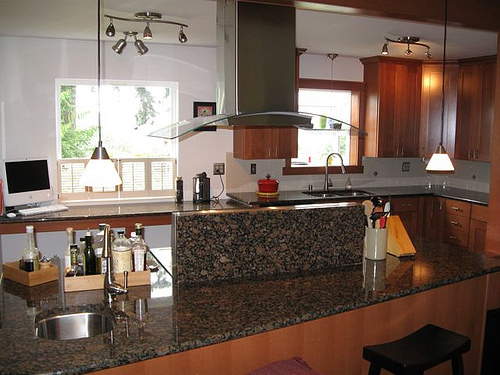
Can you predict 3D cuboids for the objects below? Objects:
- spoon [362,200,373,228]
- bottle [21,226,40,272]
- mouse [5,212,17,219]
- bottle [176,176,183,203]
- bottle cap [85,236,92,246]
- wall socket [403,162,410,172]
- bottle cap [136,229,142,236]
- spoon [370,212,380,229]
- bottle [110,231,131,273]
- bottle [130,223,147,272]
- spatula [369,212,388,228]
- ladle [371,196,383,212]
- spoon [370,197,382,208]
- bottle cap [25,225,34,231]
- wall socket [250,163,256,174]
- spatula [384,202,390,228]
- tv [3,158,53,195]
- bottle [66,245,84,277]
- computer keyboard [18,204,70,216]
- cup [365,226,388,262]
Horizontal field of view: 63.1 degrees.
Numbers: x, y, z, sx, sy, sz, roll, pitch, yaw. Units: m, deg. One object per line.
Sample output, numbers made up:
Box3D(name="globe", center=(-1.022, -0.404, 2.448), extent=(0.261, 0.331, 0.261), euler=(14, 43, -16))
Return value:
Box3D(name="spoon", center=(0.816, 0.165, 2.832), extent=(0.061, 0.236, 0.032), euler=(2, -15, 11))
Box3D(name="bottle", center=(-1.319, 0.349, 2.423), extent=(0.098, 0.281, 0.218), euler=(-5, 11, -30))
Box3D(name="mouse", center=(-2.379, 0.272, 4.040), extent=(0.063, 0.049, 0.085), euler=(2, 7, -31))
Box3D(name="bottle", center=(-0.862, 0.041, 4.922), extent=(0.080, 0.284, 0.061), euler=(-2, 10, -14))
Box3D(name="bottle cap", center=(-0.942, 0.312, 2.367), extent=(0.032, 0.062, 0.036), euler=(-5, 11, -29))
Box3D(name="wall socket", center=(2.292, -0.292, 5.975), extent=(0.108, 0.108, 0.027), euler=(-6, 7, -21))
Box3D(name="bottle cap", center=(-0.658, 0.262, 2.398), extent=(0.033, 0.040, 0.033), euler=(0, 3, -36))
Box3D(name="spoon", center=(0.852, 0.234, 2.819), extent=(0.067, 0.095, 0.036), euler=(7, -1, -42))
Box3D(name="bottle", center=(-0.753, 0.369, 2.377), extent=(0.108, 0.240, 0.144), euler=(-3, 10, -17))
Box3D(name="bottle", center=(-0.666, 0.361, 2.436), extent=(0.095, 0.311, 0.095), euler=(3, 14, -1))
Box3D(name="spatula", center=(0.869, 0.228, 2.771), extent=(0.104, 0.103, 0.081), euler=(5, -2, -8))
Box3D(name="ladle", center=(0.898, 0.117, 2.895), extent=(0.067, 0.091, 0.134), euler=(6, 12, 34))
Box3D(name="spoon", center=(0.902, 0.101, 2.900), extent=(0.075, 0.065, 0.110), euler=(9, 13, 42))
Box3D(name="bottle cap", center=(-1.272, 0.230, 2.349), extent=(0.045, 0.034, 0.045), euler=(-1, 3, -42))
Box3D(name="wall socket", center=(0.032, -0.244, 5.250), extent=(0.078, 0.141, 0.018), euler=(-4, 10, -23))
Box3D(name="spatula", center=(0.950, 0.191, 2.826), extent=(0.044, 0.194, 0.027), euler=(5, 16, 10))
Box3D(name="tv", center=(-2.383, -0.115, 4.315), extent=(0.368, 0.290, 0.028), euler=(-7, -1, -41))
Box3D(name="bottle", center=(-1.022, 0.415, 2.357), extent=(0.089, 0.179, 0.154), euler=(-4, 11, -24))
Box3D(name="computer keyboard", center=(-2.198, 0.238, 4.311), extent=(0.302, 0.049, 0.448), euler=(8, 12, 36))
Box3D(name="cup", center=(0.879, 0.390, 2.834), extent=(0.161, 0.235, 0.095), euler=(1, 10, 8))
